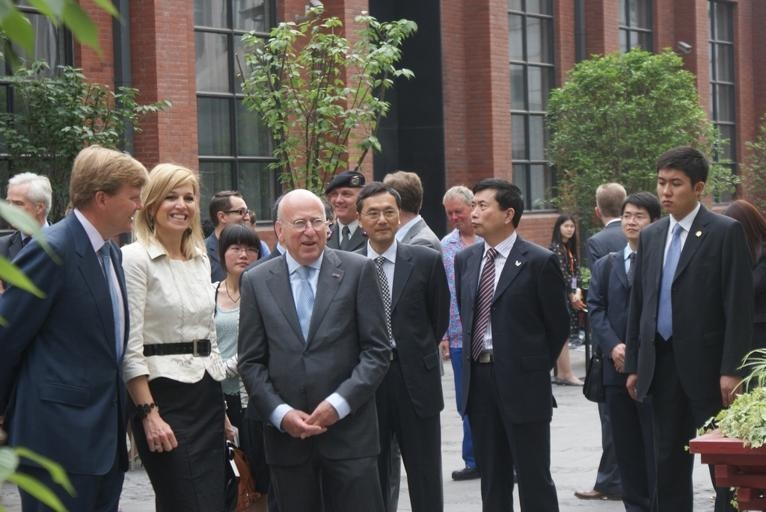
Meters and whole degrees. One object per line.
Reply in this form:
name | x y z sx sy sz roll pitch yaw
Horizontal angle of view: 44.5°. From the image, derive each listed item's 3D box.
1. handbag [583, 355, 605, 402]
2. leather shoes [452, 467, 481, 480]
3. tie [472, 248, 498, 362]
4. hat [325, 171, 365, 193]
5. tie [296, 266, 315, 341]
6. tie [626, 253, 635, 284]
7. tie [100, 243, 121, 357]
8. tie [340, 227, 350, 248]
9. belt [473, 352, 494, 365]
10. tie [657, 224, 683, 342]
handbag | 1.793 1.037 7.957 0.227 0.402 0.157 1 3 37
leather shoes | 0.788 2.075 8.981 0.363 0.140 0.126 3 -2 -12
tie | 0.781 0.365 7.214 0.167 0.862 0.187 0 2 20
hat | -0.366 -0.668 8.434 0.265 0.107 0.228 -5 1 34
tie | -0.512 0.302 6.163 0.123 0.469 0.162 -1 2 1
tie | 2.097 0.101 7.975 0.061 0.223 0.173 8 6 8
tie | -1.705 0.280 5.846 0.125 0.724 0.160 -1 2 3
tie | -0.323 -0.178 8.279 0.057 0.231 0.068 10 -41 8
belt | 0.768 0.777 7.147 0.107 0.053 0.141 -2 1 6
tie | 2.134 0.192 6.985 0.186 0.856 0.112 0 3 28
